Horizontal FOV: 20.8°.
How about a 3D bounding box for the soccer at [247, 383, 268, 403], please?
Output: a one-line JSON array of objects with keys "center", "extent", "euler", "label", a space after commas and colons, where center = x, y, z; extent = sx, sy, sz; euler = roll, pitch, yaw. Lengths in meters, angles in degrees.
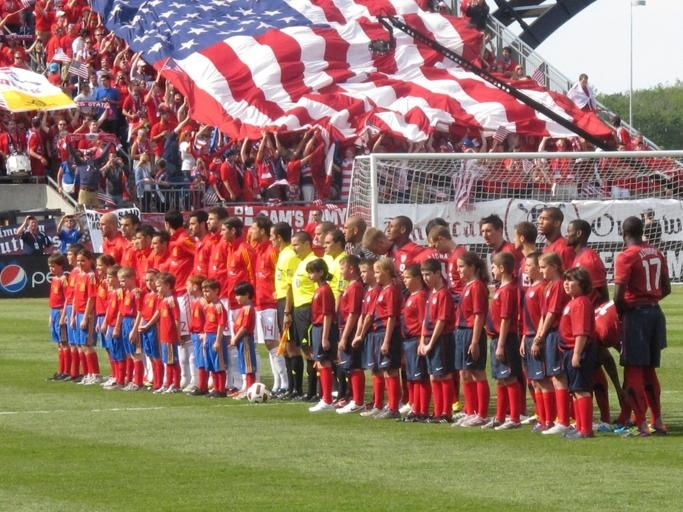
[{"center": [-1.223, 1.962, 26.686], "extent": [0.268, 0.279, 0.261], "euler": [8, -25, -27], "label": "soccer"}]
